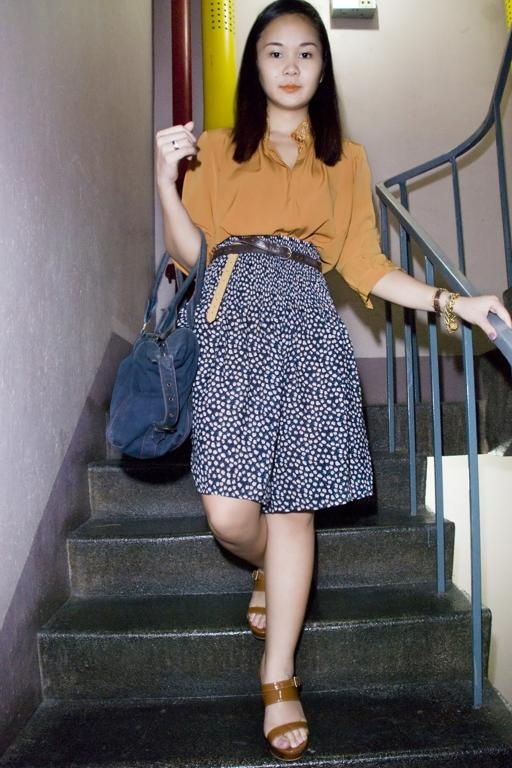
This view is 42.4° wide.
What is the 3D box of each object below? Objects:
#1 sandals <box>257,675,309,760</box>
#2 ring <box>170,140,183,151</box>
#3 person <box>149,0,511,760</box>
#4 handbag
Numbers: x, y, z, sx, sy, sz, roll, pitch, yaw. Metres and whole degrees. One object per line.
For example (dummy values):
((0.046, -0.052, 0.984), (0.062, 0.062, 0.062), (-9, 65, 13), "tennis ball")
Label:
((0.050, 0.585, 1.169), (0.077, 0.130, 0.116), (-2, 0, -1), "sandals")
((-0.149, -0.445, 1.230), (0.014, 0.021, 0.006), (-19, 0, 19), "ring")
((0.124, -0.083, 1.305), (0.516, 1.428, 0.352), (-2, 0, -11), "person")
((-0.192, -0.075, 1.345), (0.193, 0.427, 0.333), (-2, 0, 1), "handbag")
